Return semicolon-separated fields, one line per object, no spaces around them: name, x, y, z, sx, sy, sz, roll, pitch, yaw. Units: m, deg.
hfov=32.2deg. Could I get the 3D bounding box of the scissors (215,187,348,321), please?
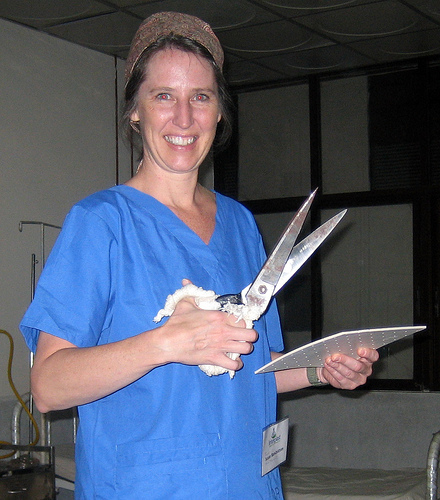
scissors;0.172;0.001;1.703;0.465;0.156;0.049;-40;8;-24
